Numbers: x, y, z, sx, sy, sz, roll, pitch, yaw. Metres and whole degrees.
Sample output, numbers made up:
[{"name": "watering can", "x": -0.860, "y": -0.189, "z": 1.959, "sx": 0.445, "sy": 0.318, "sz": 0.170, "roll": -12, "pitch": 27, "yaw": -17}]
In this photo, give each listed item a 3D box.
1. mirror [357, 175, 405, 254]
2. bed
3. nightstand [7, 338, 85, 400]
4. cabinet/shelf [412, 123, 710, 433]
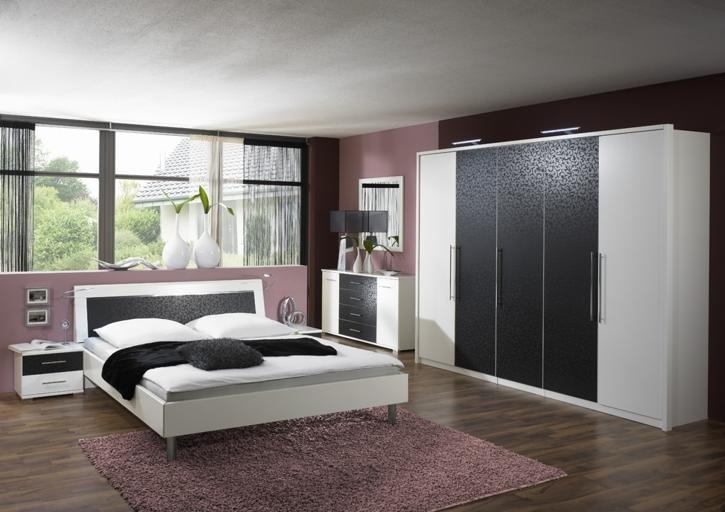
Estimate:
[{"name": "mirror", "x": 0.303, "y": -0.589, "z": 7.725, "sx": 0.061, "sy": 1.426, "sz": 1.237, "roll": 1, "pitch": -1, "yaw": -38}, {"name": "bed", "x": -1.352, "y": 0.949, "z": 4.946, "sx": 1.658, "sy": 0.889, "sz": 2.254, "roll": 0, "pitch": -3, "yaw": -30}, {"name": "nightstand", "x": -3.187, "y": 1.067, "z": 5.240, "sx": 0.703, "sy": 0.572, "sz": 0.526, "roll": 0, "pitch": 1, "yaw": -32}, {"name": "cabinet/shelf", "x": 1.985, "y": 0.252, "z": 5.081, "sx": 0.875, "sy": 2.501, "sz": 3.012, "roll": 2, "pitch": -3, "yaw": -32}]
